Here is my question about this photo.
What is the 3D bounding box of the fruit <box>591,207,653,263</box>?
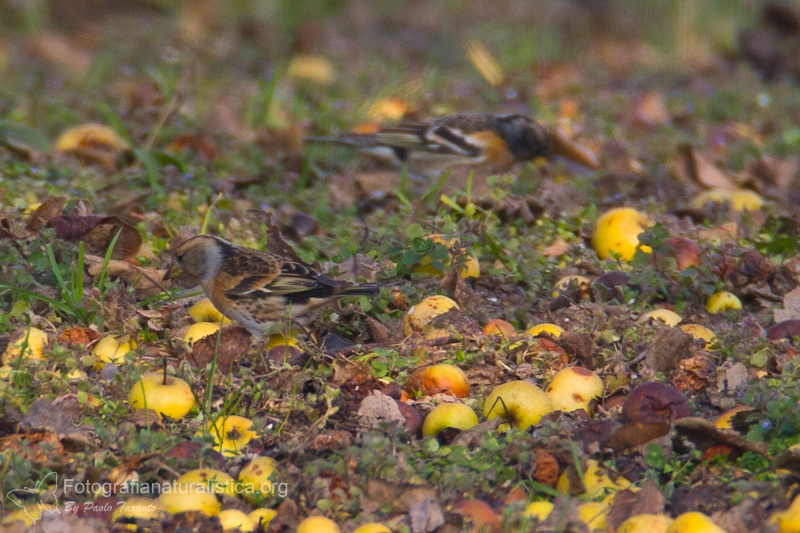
[{"bbox_3d":[1.514,-0.234,5.664,0.368,0.259,0.390,1,16,5],"label":"fruit"}]

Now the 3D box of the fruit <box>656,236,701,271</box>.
[{"bbox_3d":[1.923,-0.058,5.536,0.250,0.301,0.163,-32,91,-9],"label":"fruit"}]
